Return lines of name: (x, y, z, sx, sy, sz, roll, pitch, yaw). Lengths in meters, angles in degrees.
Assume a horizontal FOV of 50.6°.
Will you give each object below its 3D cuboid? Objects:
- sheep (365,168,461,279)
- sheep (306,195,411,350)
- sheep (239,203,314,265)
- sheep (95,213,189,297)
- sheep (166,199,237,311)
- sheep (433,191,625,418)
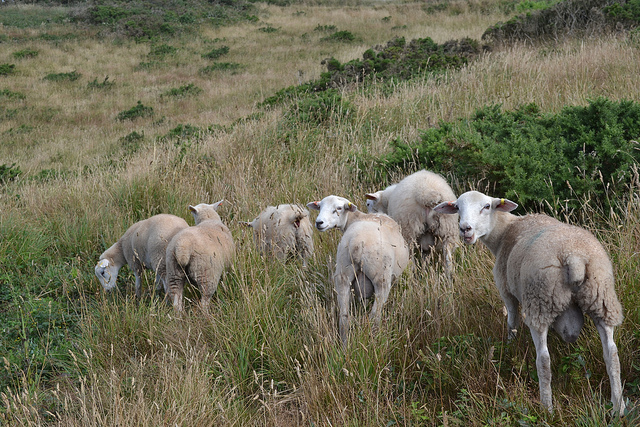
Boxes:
sheep: (1.739, 0.251, 13.245, 1.096, 2.156, 2.788, -2, -1, -8)
sheep: (0.724, 0.744, 12.067, 1.769, 2.139, 3.331, -5, 11, -1)
sheep: (-0.810, 0.513, 13.827, 0.850, 1.447, 2.568, -1, -4, -19)
sheep: (-3.401, 0.932, 13.216, 2.213, 1.725, 0.979, -6, -2, 33)
sheep: (-2.329, 0.816, 13.183, 0.979, 1.740, 2.966, -1, 14, 2)
sheep: (3.450, 1.315, 10.393, 1.177, 3.235, 2.286, -12, 14, -35)
